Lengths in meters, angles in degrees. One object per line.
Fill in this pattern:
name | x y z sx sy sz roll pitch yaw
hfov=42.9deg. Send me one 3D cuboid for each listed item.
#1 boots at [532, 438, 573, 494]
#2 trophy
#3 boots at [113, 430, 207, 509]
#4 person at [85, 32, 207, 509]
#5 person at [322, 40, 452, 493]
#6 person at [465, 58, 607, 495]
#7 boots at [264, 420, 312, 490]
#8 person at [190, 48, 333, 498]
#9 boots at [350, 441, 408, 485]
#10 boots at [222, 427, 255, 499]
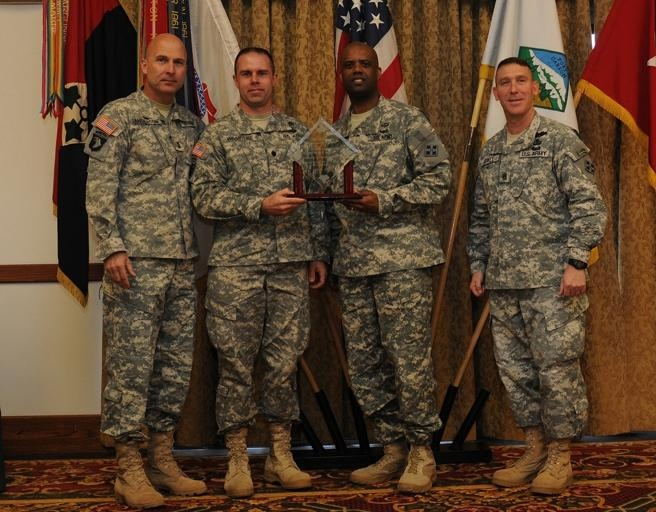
boots | 1.018 0.948 3.785 0.120 0.225 0.341 -8 -3 40
trophy | -0.026 -0.429 3.786 0.363 0.350 0.213 -2 4 -4
boots | -0.810 0.966 3.837 0.396 0.267 0.513 3 1 -9
person | -0.804 0.062 4.029 0.679 1.919 0.736 -1 0 -17
person | 0.265 0.053 4.005 0.527 2.208 0.566 4 3 -8
person | 0.989 0.081 3.946 0.467 1.950 0.710 -3 2 -39
boots | -0.185 0.950 3.923 0.128 0.271 0.297 8 -3 -44
person | -0.344 0.032 4.105 0.684 1.872 0.706 -1 0 -10
boots | 0.262 0.986 4.000 0.372 0.230 0.119 0 6 -16
boots | -0.417 0.953 3.839 0.151 0.275 0.159 1 2 -10
